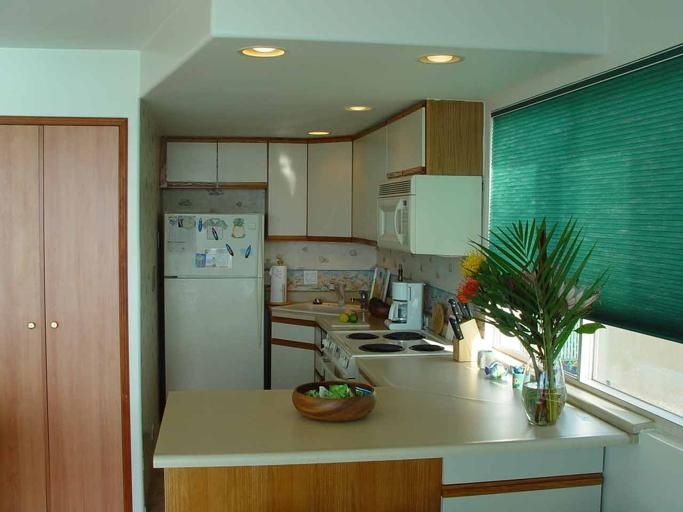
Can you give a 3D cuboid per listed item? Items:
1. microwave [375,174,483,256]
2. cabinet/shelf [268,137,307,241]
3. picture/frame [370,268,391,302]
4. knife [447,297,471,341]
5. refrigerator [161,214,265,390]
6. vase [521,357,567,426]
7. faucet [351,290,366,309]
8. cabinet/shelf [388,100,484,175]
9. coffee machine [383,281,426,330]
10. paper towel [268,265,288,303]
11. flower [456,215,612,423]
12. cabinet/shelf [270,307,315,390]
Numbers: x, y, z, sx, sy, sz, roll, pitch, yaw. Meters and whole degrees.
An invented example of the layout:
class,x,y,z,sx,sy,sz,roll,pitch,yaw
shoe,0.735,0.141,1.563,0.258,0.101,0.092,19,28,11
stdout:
class,x,y,z,sx,sy,sz,roll,pitch,yaw
microwave,0.589,-0.300,4.054,0.513,0.527,0.856,-1,4,-11
cabinet/shelf,-0.527,-0.634,5.300,0.355,0.879,0.105,3,9,10
picture/frame,0.379,0.289,5.312,0.045,0.324,0.285,12,2,-16
knife,0.763,0.393,3.593,0.090,0.095,0.369,32,30,-8
refrigerator,-1.265,0.308,5.391,0.983,1.905,0.989,-3,27,-21
vase,0.967,0.650,2.636,0.209,0.314,0.204,-1,5,40
faucet,0.164,0.427,5.457,0.160,0.161,0.161,0,2,1
cabinet/shelf,0.700,-0.773,3.873,0.416,0.527,0.810,-1,3,-10
coffee machine,0.515,0.401,4.472,0.363,0.364,0.353,1,1,-36
paper towel,-0.648,0.294,5.492,0.173,0.348,0.159,-1,-5,-25
flower,0.979,0.382,2.649,0.675,0.849,0.621,7,-5,-5
cabinet/shelf,-0.512,0.845,5.281,0.477,0.743,0.465,4,-37,-8
